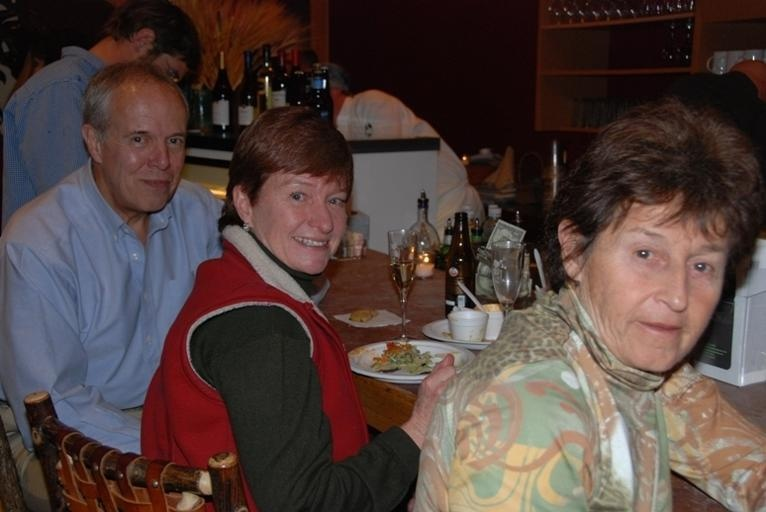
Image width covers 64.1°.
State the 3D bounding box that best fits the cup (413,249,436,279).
[{"bbox_3d":[0.174,0.047,2.747,0.104,0.120,0.110,0,3,0],"label":"cup"}]

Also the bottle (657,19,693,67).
[{"bbox_3d":[2.351,-1.688,4.871,0.145,0.346,0.424,0,9,-3],"label":"bottle"}]

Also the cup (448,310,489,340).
[{"bbox_3d":[0.275,0.224,1.997,0.104,0.080,0.105,2,-5,0],"label":"cup"}]
